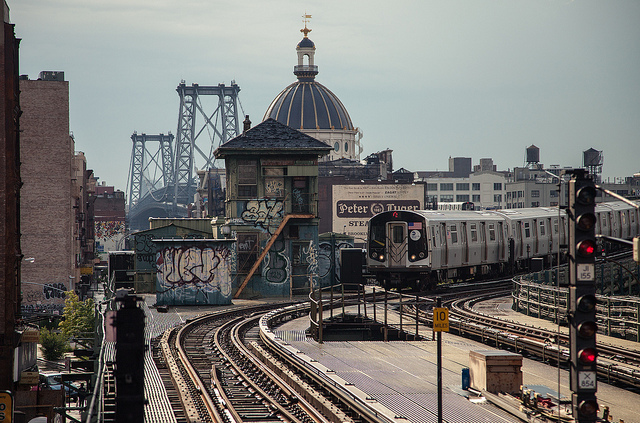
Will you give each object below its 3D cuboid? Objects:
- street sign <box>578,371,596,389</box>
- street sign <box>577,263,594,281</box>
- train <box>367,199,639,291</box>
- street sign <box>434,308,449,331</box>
[{"bbox_3d":[7.317,4.498,30.650,0.467,0.476,0.077,-1,4,0],"label":"street sign"},{"bbox_3d":[7.303,1.588,30.693,0.429,0.435,0.105,-1,0,-7],"label":"street sign"},{"bbox_3d":[8.424,1.769,61.773,4.610,3.899,15.799,-1,-1,36],"label":"train"},{"bbox_3d":[3.608,3.104,33.312,0.396,0.550,0.335,-1,0,-1],"label":"street sign"}]
